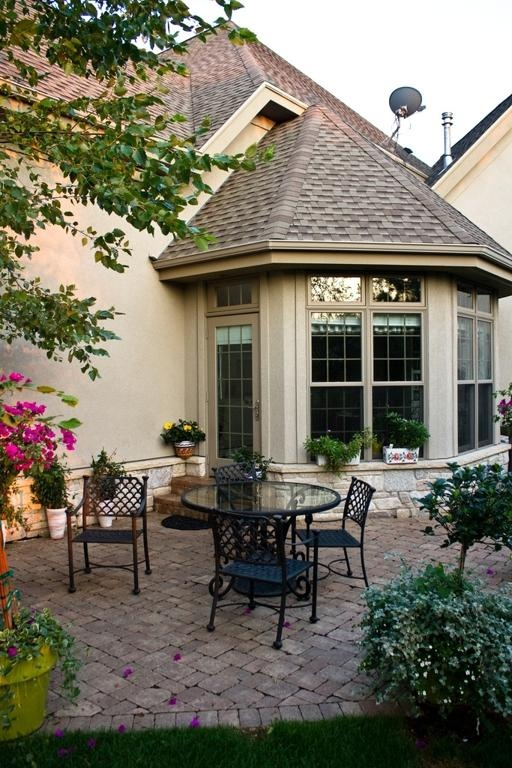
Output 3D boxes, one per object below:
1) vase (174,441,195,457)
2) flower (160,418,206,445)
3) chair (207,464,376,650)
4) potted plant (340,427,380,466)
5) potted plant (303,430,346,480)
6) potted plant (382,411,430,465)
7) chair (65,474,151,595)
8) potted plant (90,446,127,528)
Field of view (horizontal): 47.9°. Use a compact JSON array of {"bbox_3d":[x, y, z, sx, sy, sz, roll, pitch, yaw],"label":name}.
[{"bbox_3d":[-1.022,0.939,8.300,0.233,0.196,0.241,-3,-3,27],"label":"vase"},{"bbox_3d":[-1.071,0.655,8.443,0.410,0.307,0.418,2,2,-3],"label":"flower"},{"bbox_3d":[0.187,1.254,4.517,0.933,0.682,1.217,1,4,19],"label":"chair"},{"bbox_3d":[1.318,0.787,7.313,0.370,0.586,0.543,2,1,19],"label":"potted plant"},{"bbox_3d":[0.888,0.919,7.239,0.449,0.332,0.457,4,2,-9],"label":"potted plant"},{"bbox_3d":[1.902,0.693,7.573,0.640,0.666,0.518,-3,19,-10],"label":"potted plant"},{"bbox_3d":[-1.295,1.299,5.102,0.725,0.951,0.710,-1,-3,16],"label":"chair"},{"bbox_3d":[-1.523,1.080,5.978,0.329,0.657,0.385,7,2,-11],"label":"potted plant"}]
